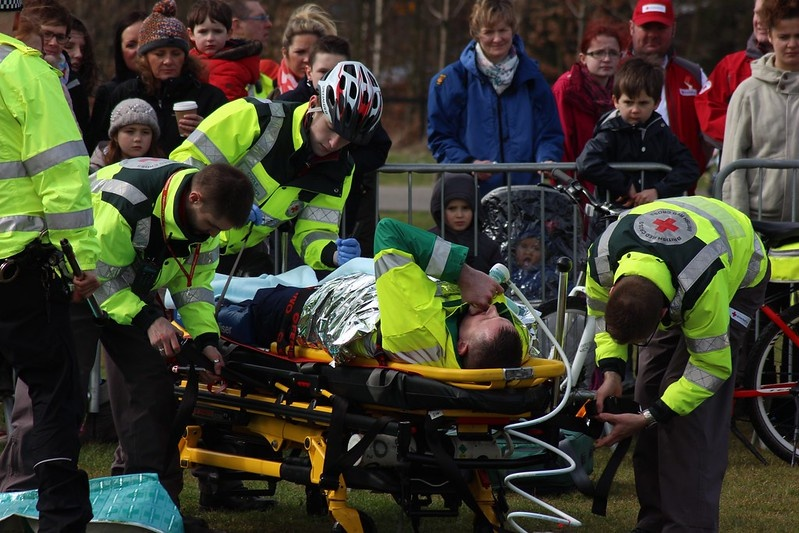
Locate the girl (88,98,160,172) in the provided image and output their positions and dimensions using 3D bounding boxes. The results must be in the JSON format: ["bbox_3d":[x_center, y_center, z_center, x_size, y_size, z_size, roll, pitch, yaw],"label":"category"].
[{"bbox_3d":[-2.049,-0.967,11.362,0.574,0.567,0.643,-1,-4,-19],"label":"girl"}]

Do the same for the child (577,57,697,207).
[{"bbox_3d":[1.887,-0.913,11.919,0.966,1.391,0.786,-5,16,-9],"label":"child"}]

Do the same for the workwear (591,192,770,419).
[{"bbox_3d":[1.878,0.124,9.965,1.254,1.105,1.411,-7,32,2],"label":"workwear"}]

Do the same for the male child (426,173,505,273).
[{"bbox_3d":[0.497,-0.300,11.187,0.700,0.925,0.427,-3,-9,-7],"label":"male child"}]

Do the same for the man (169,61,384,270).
[{"bbox_3d":[-0.822,-0.737,10.459,0.984,0.939,1.933,28,-25,-32],"label":"man"}]

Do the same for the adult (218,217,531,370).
[{"bbox_3d":[-0.308,0.251,10.265,2.216,0.902,1.174,8,-1,30],"label":"adult"}]

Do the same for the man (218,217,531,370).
[{"bbox_3d":[-0.282,0.241,10.206,2.229,0.900,1.165,7,-2,29],"label":"man"}]

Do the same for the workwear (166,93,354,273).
[{"bbox_3d":[-0.792,-0.793,11.124,1.367,0.949,1.800,23,8,-22],"label":"workwear"}]

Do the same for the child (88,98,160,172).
[{"bbox_3d":[-2.076,-0.970,11.321,0.563,0.570,0.595,-1,-6,-36],"label":"child"}]

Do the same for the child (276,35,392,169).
[{"bbox_3d":[-0.546,-1.235,11.758,0.816,1.054,0.383,20,-18,-32],"label":"child"}]

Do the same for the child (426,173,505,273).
[{"bbox_3d":[0.497,-0.300,11.187,0.700,0.925,0.427,-3,-9,-7],"label":"child"}]

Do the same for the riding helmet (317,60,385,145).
[{"bbox_3d":[-0.343,-1.219,10.482,0.498,0.367,0.698,6,35,-21],"label":"riding helmet"}]
